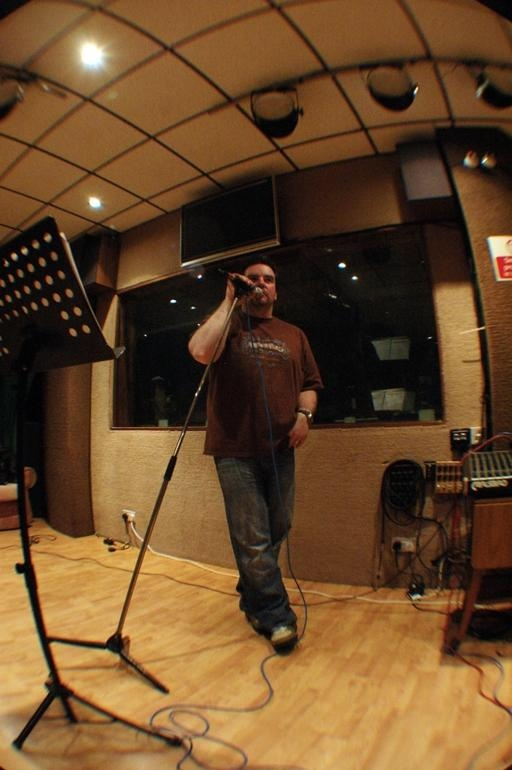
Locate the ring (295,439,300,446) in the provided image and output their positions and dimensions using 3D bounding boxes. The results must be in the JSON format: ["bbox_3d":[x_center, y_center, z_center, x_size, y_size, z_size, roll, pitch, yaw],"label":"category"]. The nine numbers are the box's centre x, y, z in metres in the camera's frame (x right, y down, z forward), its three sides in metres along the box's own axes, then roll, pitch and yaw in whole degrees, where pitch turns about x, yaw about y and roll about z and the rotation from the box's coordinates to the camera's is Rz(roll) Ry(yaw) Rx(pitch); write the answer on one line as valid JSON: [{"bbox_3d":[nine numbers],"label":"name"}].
[{"bbox_3d":[0.135,0.186,1.853,0.015,0.018,0.020,-2,-5,0],"label":"ring"}]

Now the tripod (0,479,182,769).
[{"bbox_3d":[-0.480,0.719,1.753,0.316,0.283,0.735,15,-29,13],"label":"tripod"}]

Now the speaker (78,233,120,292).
[{"bbox_3d":[-0.598,-0.479,2.213,0.146,0.214,0.185,3,5,37],"label":"speaker"}]

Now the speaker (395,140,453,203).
[{"bbox_3d":[0.524,-0.670,1.777,0.160,0.229,0.053,-12,1,17],"label":"speaker"}]

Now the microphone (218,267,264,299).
[{"bbox_3d":[-0.043,-0.303,1.768,0.067,0.055,0.208,-13,-14,30],"label":"microphone"}]

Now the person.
[{"bbox_3d":[-0.002,0.182,1.843,0.409,1.159,0.474,0,4,6],"label":"person"}]

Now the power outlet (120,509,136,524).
[{"bbox_3d":[-0.558,0.579,2.538,0.082,0.070,0.059,-5,-10,34],"label":"power outlet"}]
